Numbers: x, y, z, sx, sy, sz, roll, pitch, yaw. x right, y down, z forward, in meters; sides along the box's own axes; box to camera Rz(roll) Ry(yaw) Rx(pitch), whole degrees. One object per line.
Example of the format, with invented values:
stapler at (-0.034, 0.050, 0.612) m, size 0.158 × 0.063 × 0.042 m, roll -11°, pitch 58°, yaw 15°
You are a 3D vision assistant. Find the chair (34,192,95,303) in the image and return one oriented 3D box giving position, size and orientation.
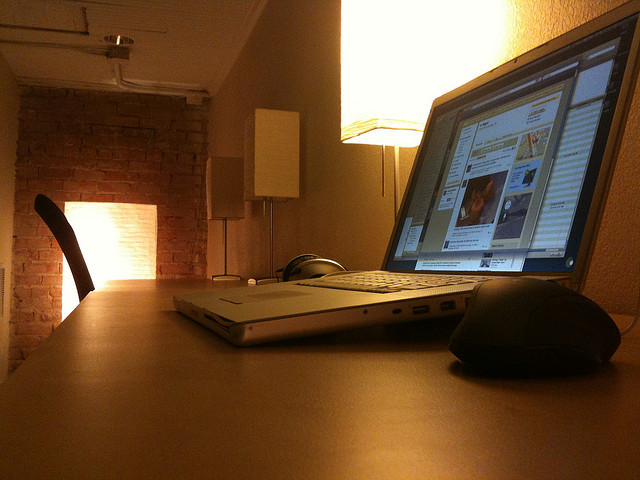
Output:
chair at (-1.770, 0.073, 3.175) m, size 0.107 × 1.009 × 0.142 m, roll -24°, pitch -10°, yaw 3°

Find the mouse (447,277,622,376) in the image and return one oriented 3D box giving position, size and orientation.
mouse at (0.173, 0.061, 0.374) m, size 0.139 × 0.067 × 0.100 m, roll -2°, pitch 0°, yaw -5°

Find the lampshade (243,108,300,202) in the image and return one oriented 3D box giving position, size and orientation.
lampshade at (-0.197, -0.353, 2.022) m, size 0.182 × 0.377 × 0.244 m, roll 1°, pitch 7°, yaw -17°

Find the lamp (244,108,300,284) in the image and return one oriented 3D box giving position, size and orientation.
lamp at (-0.208, -0.178, 2.038) m, size 0.211 × 0.707 × 0.204 m, roll 0°, pitch -1°, yaw -9°

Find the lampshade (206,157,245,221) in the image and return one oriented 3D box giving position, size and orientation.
lampshade at (-0.598, -0.318, 2.958) m, size 0.198 × 0.391 × 0.321 m, roll 1°, pitch 4°, yaw -18°
